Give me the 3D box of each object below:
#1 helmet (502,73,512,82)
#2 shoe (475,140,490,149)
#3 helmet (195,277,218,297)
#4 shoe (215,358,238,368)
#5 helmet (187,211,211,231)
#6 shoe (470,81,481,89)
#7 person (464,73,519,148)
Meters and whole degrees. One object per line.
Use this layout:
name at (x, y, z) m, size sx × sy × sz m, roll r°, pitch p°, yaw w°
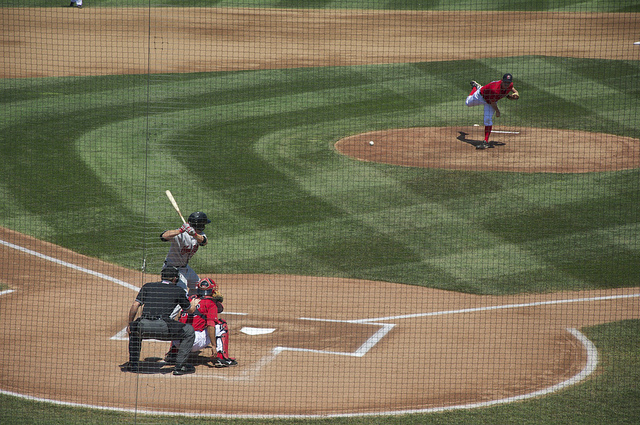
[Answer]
helmet at (5.504, -3.885, 34.817) m, size 0.361 × 0.224 × 0.463 m, roll 5°, pitch 11°, yaw 0°
shoe at (4.896, -2.004, 35.717) m, size 0.472 × 0.264 × 0.165 m, roll 8°, pitch 38°, yaw 23°
helmet at (-2.614, 1.729, 27.562) m, size 0.518 × 0.333 × 0.373 m, roll -5°, pitch 30°, yaw -10°
shoe at (-2.148, 3.495, 27.545) m, size 0.615 × 0.210 × 0.183 m, roll 0°, pitch 7°, yaw -3°
helmet at (-2.834, 0.198, 28.217) m, size 0.591 × 0.418 × 0.345 m, roll -2°, pitch 34°, yaw -7°
shoe at (4.711, -3.832, 35.842) m, size 0.283 × 0.178 × 0.608 m, roll 15°, pitch 0°, yaw 19°
person at (5.145, -2.962, 35.354) m, size 0.819 × 2.288 × 1.476 m, roll -14°, pitch 22°, yaw -24°
